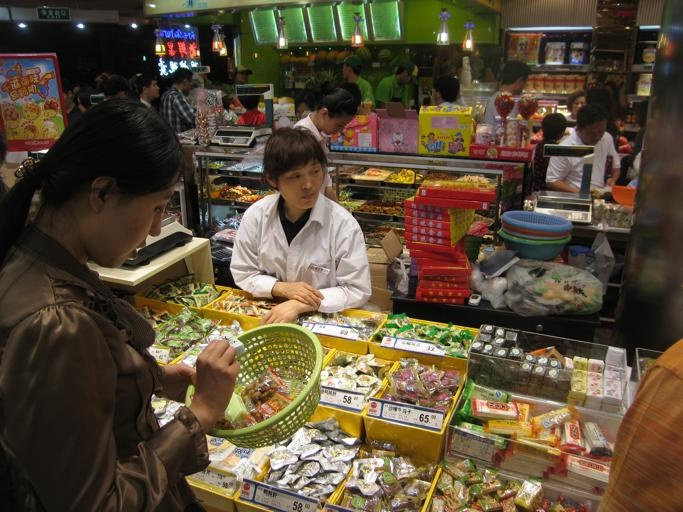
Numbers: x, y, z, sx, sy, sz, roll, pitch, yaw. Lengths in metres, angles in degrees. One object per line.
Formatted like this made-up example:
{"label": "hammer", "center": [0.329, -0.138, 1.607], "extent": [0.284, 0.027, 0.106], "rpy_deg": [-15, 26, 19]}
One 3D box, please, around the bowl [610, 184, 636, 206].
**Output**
{"label": "bowl", "center": [2.500, -0.539, 4.155], "extent": [0.171, 0.146, 0.386], "rpy_deg": [9, 25, 25]}

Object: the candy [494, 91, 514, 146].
{"label": "candy", "center": [1.380, -1.182, 3.979], "extent": [0.146, 0.382, 0.441], "rpy_deg": [5, 24, 17]}

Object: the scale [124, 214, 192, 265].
{"label": "scale", "center": [-0.838, -0.064, 2.179], "extent": [0.248, 0.094, 0.228], "rpy_deg": [-32, 32, -31]}

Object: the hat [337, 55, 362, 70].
{"label": "hat", "center": [0.106, -2.987, 7.230], "extent": [0.352, 0.202, 0.247], "rpy_deg": [39, 44, 19]}

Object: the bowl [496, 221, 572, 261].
{"label": "bowl", "center": [1.341, -0.124, 3.198], "extent": [0.345, 0.206, 0.322], "rpy_deg": [-6, 16, 2]}

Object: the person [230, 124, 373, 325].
{"label": "person", "center": [-0.218, -0.204, 2.694], "extent": [0.652, 1.005, 0.772], "rpy_deg": [-19, 28, -34]}

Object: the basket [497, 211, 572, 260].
{"label": "basket", "center": [1.329, -0.162, 3.205], "extent": [0.418, 0.248, 0.375], "rpy_deg": [-4, 21, 1]}
